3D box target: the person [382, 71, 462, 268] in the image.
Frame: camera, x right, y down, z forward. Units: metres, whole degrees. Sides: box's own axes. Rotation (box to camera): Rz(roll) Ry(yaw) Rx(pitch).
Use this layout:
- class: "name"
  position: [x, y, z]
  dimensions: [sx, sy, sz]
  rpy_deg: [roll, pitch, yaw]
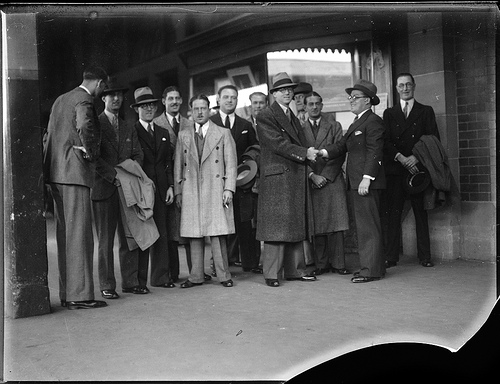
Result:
- class: "person"
  position: [1.989, -0.281, 6.424]
  dimensions: [0.813, 2.274, 0.735]
  rpy_deg: [1, 7, 13]

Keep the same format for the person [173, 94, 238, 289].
- class: "person"
  position: [-0.465, -0.016, 5.712]
  dimensions: [0.666, 2.002, 0.374]
  rpy_deg: [-2, 7, -10]

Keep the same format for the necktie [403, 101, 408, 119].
- class: "necktie"
  position: [1.894, -1.009, 6.569]
  dimensions: [0.057, 0.201, 0.043]
  rpy_deg: [-2, 7, -13]

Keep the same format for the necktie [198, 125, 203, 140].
- class: "necktie"
  position: [-0.522, -0.639, 5.732]
  dimensions: [0.046, 0.150, 0.021]
  rpy_deg: [0, 7, 0]

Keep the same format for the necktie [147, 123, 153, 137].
- class: "necktie"
  position: [-1.046, -0.651, 5.673]
  dimensions: [0.045, 0.156, 0.010]
  rpy_deg: [-6, -29, -16]

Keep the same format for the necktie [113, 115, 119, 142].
- class: "necktie"
  position: [-1.337, -0.642, 5.412]
  dimensions: [0.049, 0.238, 0.041]
  rpy_deg: [-2, 7, -15]

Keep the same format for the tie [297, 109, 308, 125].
- class: "tie"
  position: [0.675, -0.985, 6.966]
  dimensions: [0.061, 0.203, 0.191]
  rpy_deg: [-6, 42, 9]

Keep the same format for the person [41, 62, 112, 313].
- class: "person"
  position: [-1.584, -0.037, 4.968]
  dimensions: [0.561, 2.227, 0.454]
  rpy_deg: [-3, 7, -20]

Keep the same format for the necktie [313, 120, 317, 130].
- class: "necktie"
  position: [0.758, -0.797, 6.375]
  dimensions: [0.021, 0.101, 0.025]
  rpy_deg: [-3, -13, 20]

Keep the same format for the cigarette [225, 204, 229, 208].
- class: "cigarette"
  position: [-0.244, 0.146, 5.709]
  dimensions: [0.015, 0.019, 0.064]
  rpy_deg: [24, -17, 45]

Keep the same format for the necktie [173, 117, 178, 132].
- class: "necktie"
  position: [-0.839, -0.771, 6.116]
  dimensions: [0.051, 0.159, 0.065]
  rpy_deg: [-1, 7, -8]

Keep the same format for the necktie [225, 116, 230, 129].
- class: "necktie"
  position: [-0.270, -0.857, 6.570]
  dimensions: [0.059, 0.136, 0.061]
  rpy_deg: [-1, 7, -3]

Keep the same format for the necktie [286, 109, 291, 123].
- class: "necktie"
  position: [0.413, -0.834, 5.786]
  dimensions: [0.024, 0.102, 0.070]
  rpy_deg: [-8, 0, 12]

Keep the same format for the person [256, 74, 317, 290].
- class: "person"
  position: [0.462, -0.121, 5.844]
  dimensions: [0.839, 2.279, 0.675]
  rpy_deg: [-4, 8, -25]
